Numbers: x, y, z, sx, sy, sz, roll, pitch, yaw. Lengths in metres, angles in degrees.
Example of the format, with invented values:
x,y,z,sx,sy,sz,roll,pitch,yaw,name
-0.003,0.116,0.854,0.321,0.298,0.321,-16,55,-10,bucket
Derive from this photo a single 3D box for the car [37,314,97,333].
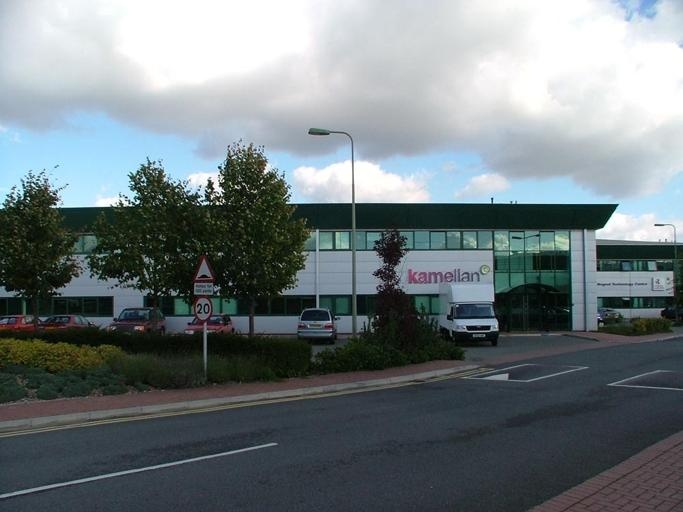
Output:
x,y,z,sx,sy,sz,roll,pitch,yaw,name
-12.656,3.072,31.679,1.048,0.857,2.425,0,-1,5,car

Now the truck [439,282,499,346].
x,y,z,sx,sy,sz,roll,pitch,yaw,name
6.054,2.755,32.813,2.250,2.924,3.224,0,2,0,truck

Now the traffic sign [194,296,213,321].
x,y,z,sx,sy,sz,roll,pitch,yaw,name
-3.850,1.480,19.196,0.441,0.694,0.539,-1,2,-13,traffic sign
